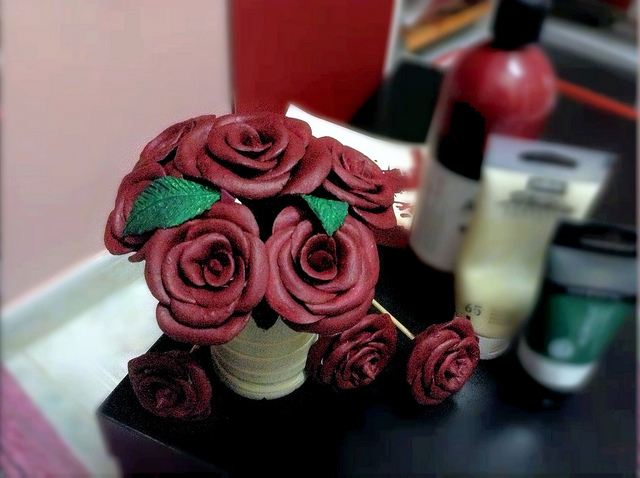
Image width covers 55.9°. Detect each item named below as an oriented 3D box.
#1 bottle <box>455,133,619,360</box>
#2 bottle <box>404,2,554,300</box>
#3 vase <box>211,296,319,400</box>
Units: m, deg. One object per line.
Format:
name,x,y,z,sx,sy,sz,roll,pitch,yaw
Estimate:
bottle,0.173,0.012,0.540,0.109,0.222,0.085,4,35,-8
bottle,0.134,-0.069,0.518,0.084,0.244,0.096,25,46,27
vase,-0.039,0.061,0.490,0.090,0.102,0.095,-2,50,-6
